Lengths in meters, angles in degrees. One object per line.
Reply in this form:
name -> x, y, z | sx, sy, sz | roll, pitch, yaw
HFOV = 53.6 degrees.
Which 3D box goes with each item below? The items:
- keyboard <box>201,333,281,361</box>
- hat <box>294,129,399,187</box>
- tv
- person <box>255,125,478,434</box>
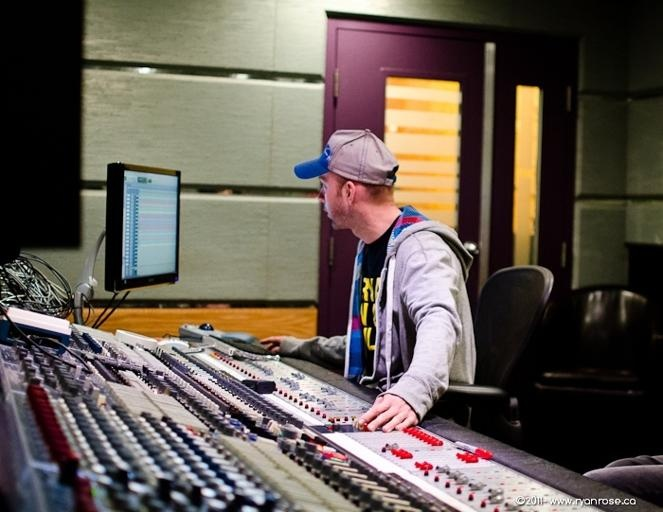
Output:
keyboard -> -0.280, 0.318, 2.181 | 0.183, 0.041, 0.105 | 15, 1, -21
hat -> 0.057, -0.323, 2.283 | 0.291, 0.171, 0.186 | 13, 18, 8
tv -> -0.692, -0.106, 2.405 | 0.068, 0.471, 0.516 | 3, 1, 17
person -> 0.210, 0.012, 2.070 | 0.631, 0.865, 1.007 | 1, 3, -19
